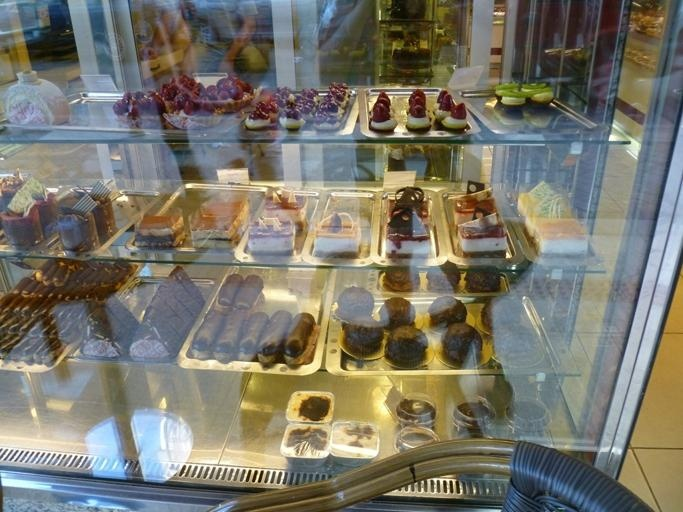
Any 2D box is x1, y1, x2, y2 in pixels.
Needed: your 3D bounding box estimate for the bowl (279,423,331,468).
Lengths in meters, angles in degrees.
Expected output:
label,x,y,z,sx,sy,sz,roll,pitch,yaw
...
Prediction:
label,x,y,z,sx,sy,sz,roll,pitch,yaw
bowl,-0.125,0.717,1.845,0.185,0.062,0.210,2,16,3
